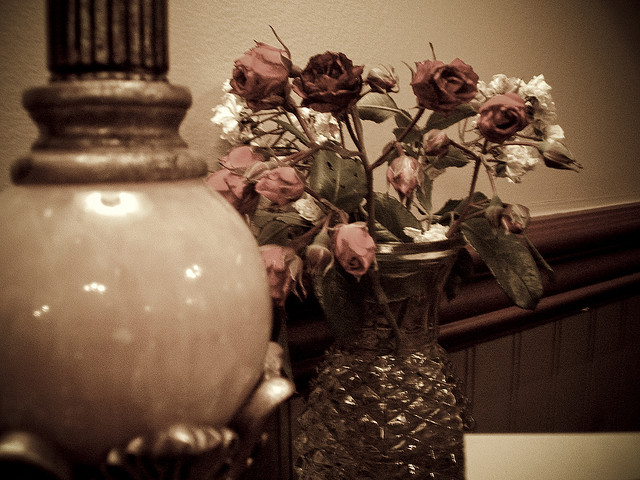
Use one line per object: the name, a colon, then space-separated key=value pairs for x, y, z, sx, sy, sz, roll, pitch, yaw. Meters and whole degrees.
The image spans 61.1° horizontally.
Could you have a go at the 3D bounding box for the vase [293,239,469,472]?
vase: x=0.047 y=0.102 z=0.459 sx=0.151 sy=0.210 sz=0.099 roll=-2 pitch=20 yaw=4

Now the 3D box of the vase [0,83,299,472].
vase: x=-0.087 y=0.020 z=0.342 sx=0.188 sy=0.191 sz=0.178 roll=-1 pitch=-4 yaw=-1
